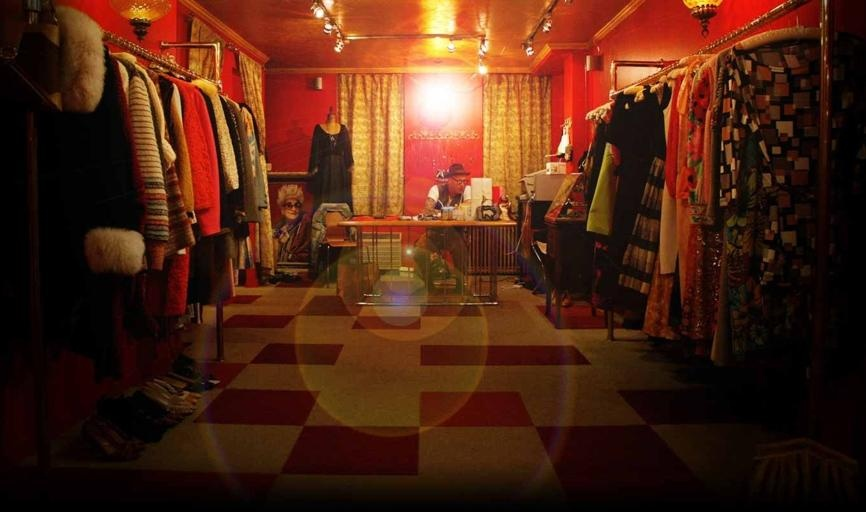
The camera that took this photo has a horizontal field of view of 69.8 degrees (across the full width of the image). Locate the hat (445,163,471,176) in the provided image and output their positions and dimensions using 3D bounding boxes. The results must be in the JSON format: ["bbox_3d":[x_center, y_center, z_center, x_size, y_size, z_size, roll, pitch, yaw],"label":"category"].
[{"bbox_3d":[0.318,-1.107,7.896,0.300,0.130,0.342,-1,5,-8],"label":"hat"}]

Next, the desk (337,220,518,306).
[{"bbox_3d":[-0.105,-0.049,6.950,1.892,0.901,2.186,1,9,3],"label":"desk"}]
